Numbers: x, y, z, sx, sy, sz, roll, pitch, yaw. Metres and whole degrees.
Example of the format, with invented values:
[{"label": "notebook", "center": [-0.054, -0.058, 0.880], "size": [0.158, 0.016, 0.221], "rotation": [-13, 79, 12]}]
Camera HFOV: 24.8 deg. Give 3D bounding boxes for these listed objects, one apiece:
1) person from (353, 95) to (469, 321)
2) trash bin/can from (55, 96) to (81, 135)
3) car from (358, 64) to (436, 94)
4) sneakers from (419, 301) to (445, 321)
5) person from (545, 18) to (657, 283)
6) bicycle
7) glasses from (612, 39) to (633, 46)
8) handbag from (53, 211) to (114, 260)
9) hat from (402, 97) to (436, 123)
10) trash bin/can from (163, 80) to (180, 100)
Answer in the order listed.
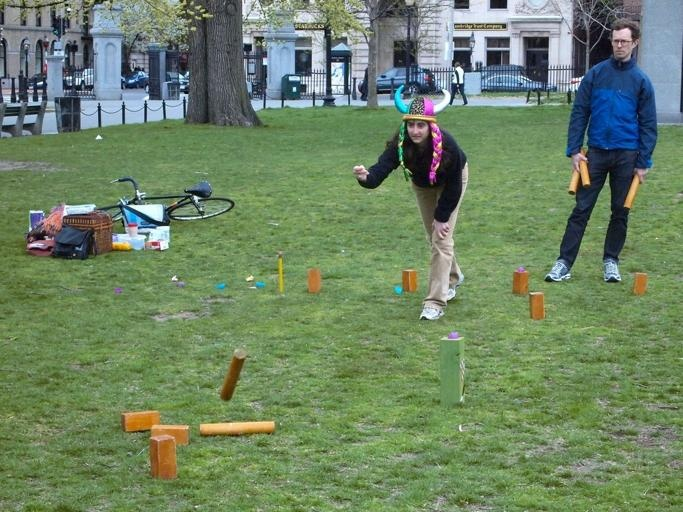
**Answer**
[{"label": "person", "center": [0.981, -0.653, 19.633], "size": [1.136, 2.953, 1.201], "rotation": [1, 7, 7]}, {"label": "trash bin/can", "center": [-6.748, -3.499, 38.877], "size": [0.673, 0.897, 0.689], "rotation": [5, -13, -39]}, {"label": "car", "center": [2.450, -6.543, 57.480], "size": [2.312, 1.034, 7.498], "rotation": [0, 7, 1]}, {"label": "sneakers", "center": [1.118, 0.743, 19.663], "size": [0.151, 0.157, 0.355], "rotation": [0, -1, 23]}, {"label": "person", "center": [3.522, -1.382, 20.679], "size": [1.268, 3.518, 0.495], "rotation": [1, 7, 8]}, {"label": "bicycle", "center": [-2.805, -0.858, 24.597], "size": [1.768, 0.377, 0.786], "rotation": [-1, -23, -10]}, {"label": "glasses", "center": [3.669, -2.807, 20.337], "size": [0.268, 0.097, 0.063], "rotation": [1, 7, 8]}, {"label": "handbag", "center": [-3.672, -0.292, 22.083], "size": [0.625, 0.520, 0.741], "rotation": [3, 10, 15]}, {"label": "hat", "center": [0.962, -1.815, 19.163], "size": [0.311, 0.218, 0.342], "rotation": [1, 6, 3]}, {"label": "trash bin/can", "center": [-5.916, -5.751, 53.596], "size": [0.581, 0.693, 0.988], "rotation": [1, 6, -4]}]
